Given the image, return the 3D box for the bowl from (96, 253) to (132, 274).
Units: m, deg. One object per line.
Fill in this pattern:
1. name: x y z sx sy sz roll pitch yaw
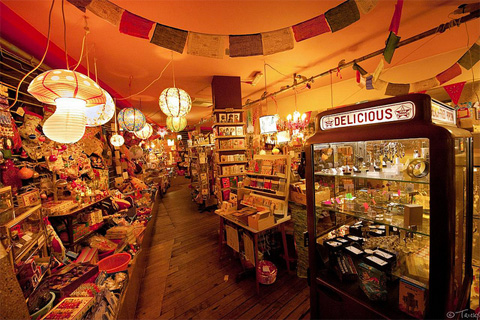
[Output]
1. bowl: -2.293 1.915 5.573 0.570 0.255 0.582 0 2 0

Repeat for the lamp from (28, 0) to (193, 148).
1. lamp: -2.523 -1.724 5.852 1.324 2.888 1.774 -16 -22 22

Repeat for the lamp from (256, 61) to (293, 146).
1. lamp: 1.046 -1.646 8.936 1.599 2.006 0.409 -5 11 -15
